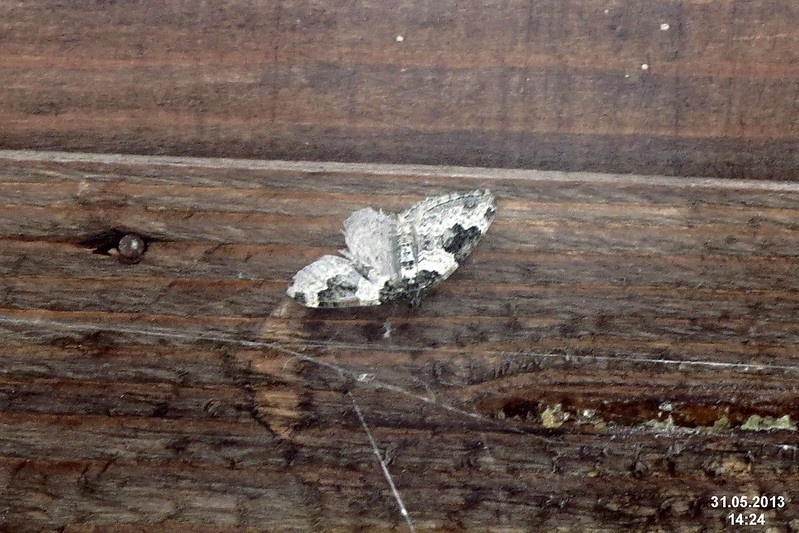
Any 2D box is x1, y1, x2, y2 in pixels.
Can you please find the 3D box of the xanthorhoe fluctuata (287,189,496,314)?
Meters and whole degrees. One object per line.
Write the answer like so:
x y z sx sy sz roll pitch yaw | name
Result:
-0.031 -0.223 15.482 2.704 1.495 0.294 -4 -16 11 | xanthorhoe fluctuata
